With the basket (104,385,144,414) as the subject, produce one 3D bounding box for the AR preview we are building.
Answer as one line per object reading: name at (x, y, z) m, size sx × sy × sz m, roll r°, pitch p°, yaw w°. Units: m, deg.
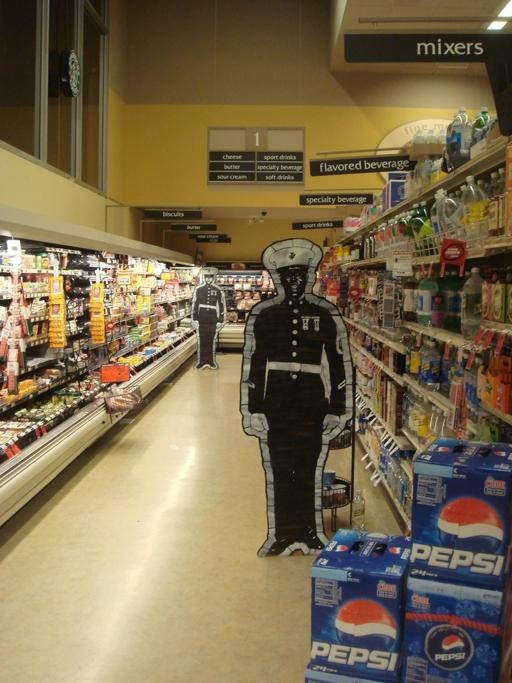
basket at (-1.621, 0.717, 5.727) m, size 0.323 × 0.170 × 0.453 m, roll 3°, pitch 13°, yaw -4°
